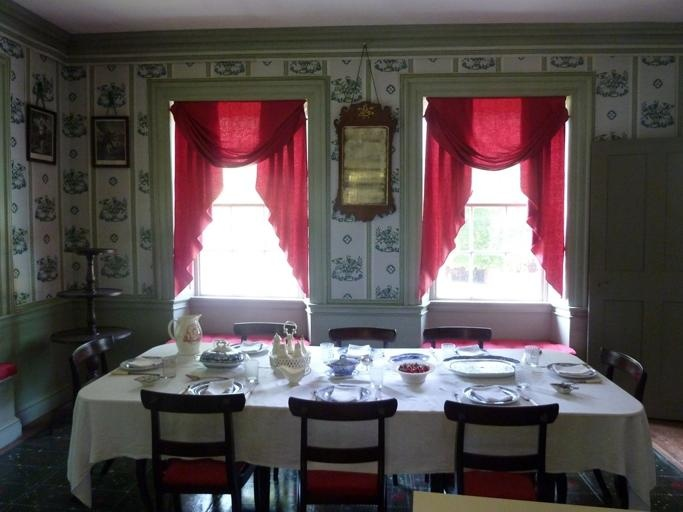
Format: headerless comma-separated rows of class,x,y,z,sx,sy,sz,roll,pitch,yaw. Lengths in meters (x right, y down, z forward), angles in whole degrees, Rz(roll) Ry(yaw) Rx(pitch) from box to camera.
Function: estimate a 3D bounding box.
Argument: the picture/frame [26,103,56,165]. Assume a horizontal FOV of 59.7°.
picture/frame,-2.641,-1.068,5.227,0.052,0.490,0.328,0,5,15
